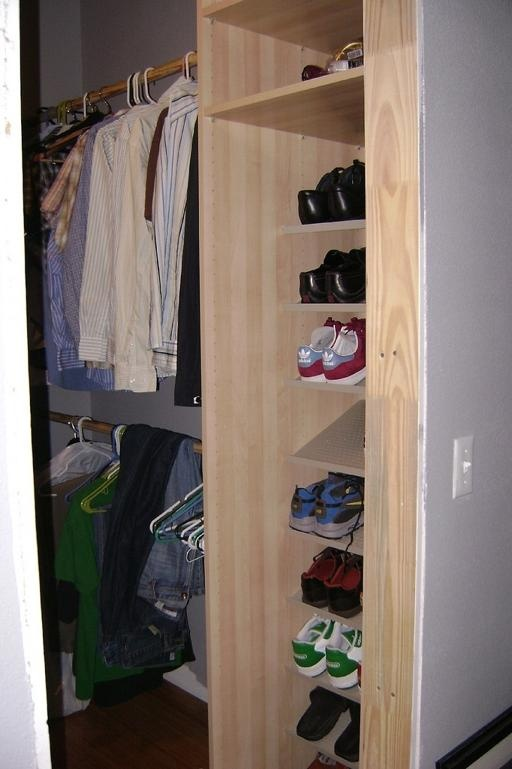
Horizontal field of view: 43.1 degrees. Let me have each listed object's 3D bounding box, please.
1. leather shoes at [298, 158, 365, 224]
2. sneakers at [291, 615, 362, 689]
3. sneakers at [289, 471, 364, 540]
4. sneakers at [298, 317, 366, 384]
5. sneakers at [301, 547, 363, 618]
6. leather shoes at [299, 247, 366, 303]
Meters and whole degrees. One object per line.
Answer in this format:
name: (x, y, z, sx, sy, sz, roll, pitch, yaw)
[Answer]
leather shoes: (0.176, -0.448, 1.517, 0.097, 0.122, 0.258, 11, 24, 37)
sneakers: (0.184, 0.678, 1.642, 0.132, 0.078, 0.198, -1, 7, 23)
sneakers: (0.171, 0.288, 1.599, 0.110, 0.096, 0.178, 4, 11, 34)
sneakers: (0.191, -0.104, 1.532, 0.124, 0.073, 0.187, 9, 30, 31)
sneakers: (0.202, 0.488, 1.638, 0.109, 0.061, 0.157, 1, 10, 29)
leather shoes: (0.184, -0.257, 1.494, 0.179, 0.076, 0.105, -15, 19, -42)
